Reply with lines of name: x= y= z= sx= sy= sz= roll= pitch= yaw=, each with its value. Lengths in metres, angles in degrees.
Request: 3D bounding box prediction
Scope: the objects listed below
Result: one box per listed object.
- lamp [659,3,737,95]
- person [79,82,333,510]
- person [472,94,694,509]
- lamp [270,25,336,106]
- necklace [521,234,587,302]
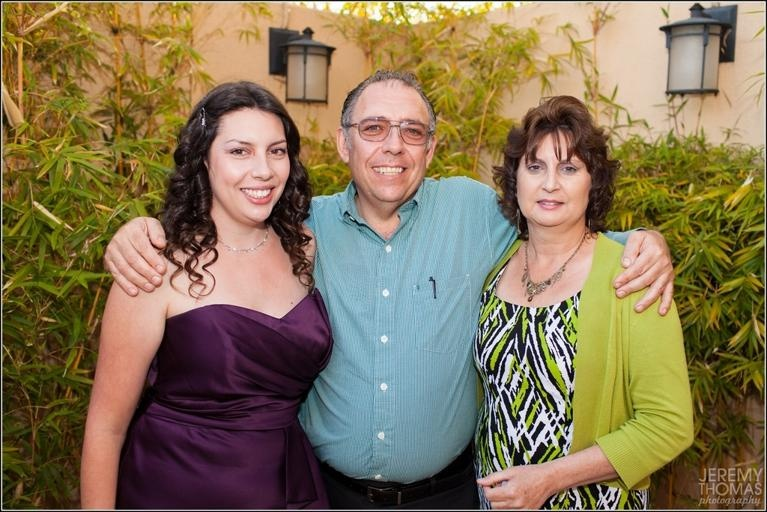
lamp: x=1.957 y=-1.259 z=3.626 sx=0.391 sy=0.520 sz=0.185 roll=1 pitch=10 yaw=10
person: x=-0.792 y=0.192 z=2.668 sx=1.087 sy=1.931 sz=0.597 roll=-3 pitch=10 yaw=-11
person: x=0.877 y=0.202 z=2.687 sx=0.899 sy=1.837 sz=0.718 roll=0 pitch=10 yaw=6
lamp: x=-0.699 y=-1.571 z=4.840 sx=0.459 sy=0.603 sz=0.460 roll=-8 pitch=16 yaw=-44
necklace: x=0.838 y=0.070 z=2.764 sx=0.061 sy=0.335 sz=0.248 roll=29 pitch=8 yaw=-28
